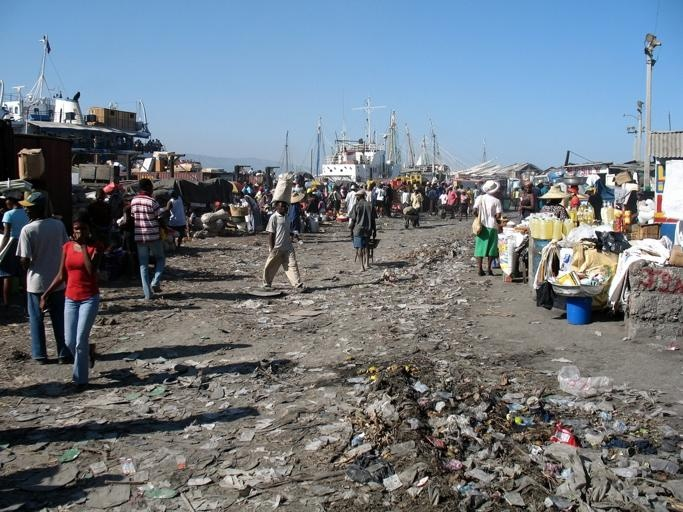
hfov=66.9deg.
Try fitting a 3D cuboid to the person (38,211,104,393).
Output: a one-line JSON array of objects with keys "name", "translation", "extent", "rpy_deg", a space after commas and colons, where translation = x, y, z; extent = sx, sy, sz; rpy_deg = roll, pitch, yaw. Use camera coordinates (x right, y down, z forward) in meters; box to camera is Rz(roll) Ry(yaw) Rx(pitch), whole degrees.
[{"name": "person", "translation": [-3.016, 0.494, 5.861], "extent": [0.443, 1.871, 0.716], "rpy_deg": [-9, 11, -37]}]

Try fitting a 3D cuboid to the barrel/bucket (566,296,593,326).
[{"name": "barrel/bucket", "translation": [3.500, 0.816, 7.614], "extent": [0.386, 0.420, 0.385], "rpy_deg": [-1, -2, 0]}]

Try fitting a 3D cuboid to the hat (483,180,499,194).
[{"name": "hat", "translation": [3.255, -1.491, 11.306], "extent": [0.346, 0.295, 0.668], "rpy_deg": [0, 9, 15]}]

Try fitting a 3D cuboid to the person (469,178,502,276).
[{"name": "person", "translation": [3.293, -0.602, 11.702], "extent": [0.592, 2.176, 1.165], "rpy_deg": [0, 9, 14]}]

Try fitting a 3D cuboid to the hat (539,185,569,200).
[{"name": "hat", "translation": [5.405, -1.570, 13.107], "extent": [0.736, 0.208, 0.715], "rpy_deg": [-4, 6, -39]}]

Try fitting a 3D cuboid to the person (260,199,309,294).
[{"name": "person", "translation": [-1.269, -0.201, 10.730], "extent": [0.846, 1.851, 0.884], "rpy_deg": [-4, 9, -8]}]

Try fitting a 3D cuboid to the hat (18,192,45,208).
[{"name": "hat", "translation": [-3.676, -0.660, 6.142], "extent": [0.249, 0.153, 0.251], "rpy_deg": [-6, 10, -24]}]

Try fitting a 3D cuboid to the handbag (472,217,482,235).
[{"name": "handbag", "translation": [3.023, -0.678, 11.317], "extent": [0.097, 0.393, 0.276], "rpy_deg": [10, -9, -25]}]

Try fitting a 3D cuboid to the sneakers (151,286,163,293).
[{"name": "sneakers", "translation": [-3.579, 0.650, 9.919], "extent": [0.138, 0.087, 0.223], "rpy_deg": [0, 3, -4]}]
